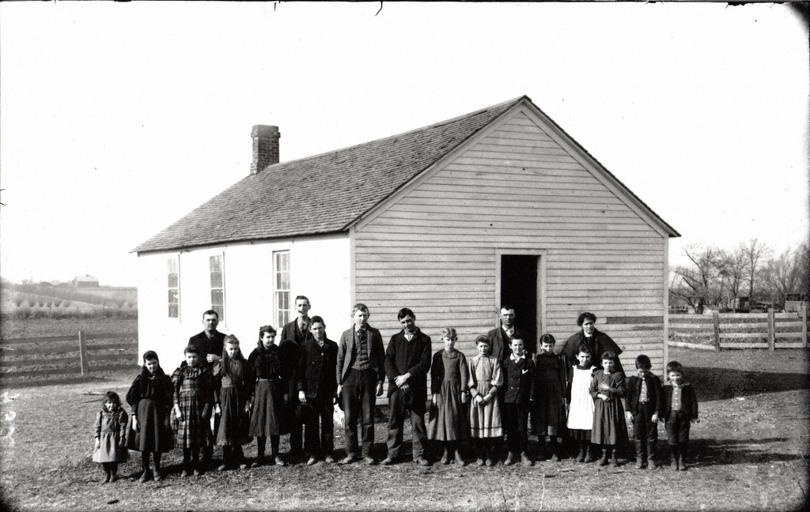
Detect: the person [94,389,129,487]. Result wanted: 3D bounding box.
[{"bbox_3d":[-5.800,3.576,15.527,0.650,1.741,0.529,-1,5,-11],"label":"person"}]
